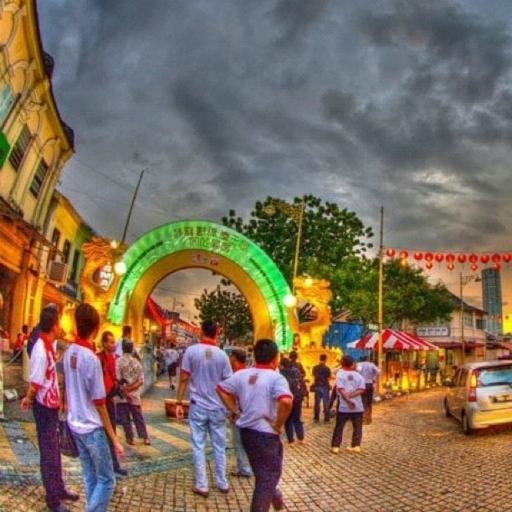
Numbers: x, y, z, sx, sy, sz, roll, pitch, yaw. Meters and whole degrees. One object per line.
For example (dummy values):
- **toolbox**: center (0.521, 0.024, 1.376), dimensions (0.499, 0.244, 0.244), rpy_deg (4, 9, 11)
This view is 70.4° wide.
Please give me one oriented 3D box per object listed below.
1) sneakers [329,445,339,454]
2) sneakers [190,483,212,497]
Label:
- **sneakers**: center (1.442, 3.575, 6.711), dimensions (0.197, 0.106, 0.279), rpy_deg (0, -10, 14)
- **sneakers**: center (-0.638, 2.729, 4.229), dimensions (0.084, 0.099, 0.220), rpy_deg (15, -4, -42)
